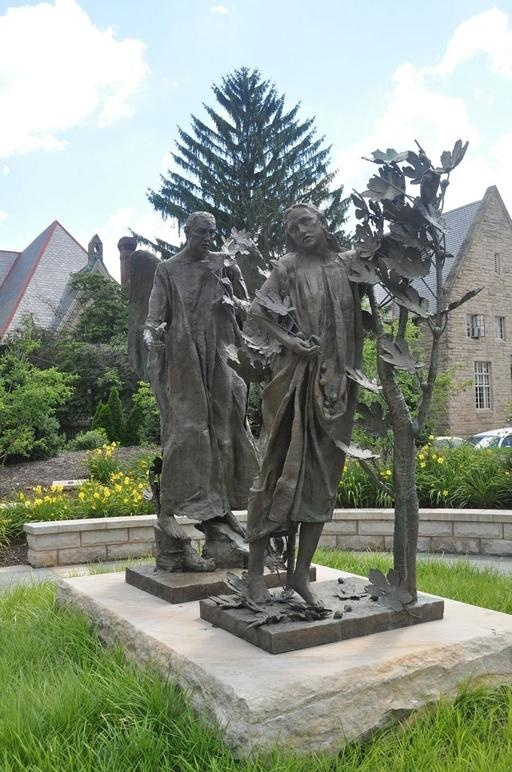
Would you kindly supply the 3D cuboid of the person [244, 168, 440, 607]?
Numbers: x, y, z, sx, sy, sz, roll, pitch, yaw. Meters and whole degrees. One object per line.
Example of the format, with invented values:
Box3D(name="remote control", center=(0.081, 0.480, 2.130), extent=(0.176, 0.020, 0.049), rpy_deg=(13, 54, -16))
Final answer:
Box3D(name="person", center=(0.245, 0.061, 2.989), extent=(0.846, 1.745, 0.368), rpy_deg=(-13, 2, -7))
